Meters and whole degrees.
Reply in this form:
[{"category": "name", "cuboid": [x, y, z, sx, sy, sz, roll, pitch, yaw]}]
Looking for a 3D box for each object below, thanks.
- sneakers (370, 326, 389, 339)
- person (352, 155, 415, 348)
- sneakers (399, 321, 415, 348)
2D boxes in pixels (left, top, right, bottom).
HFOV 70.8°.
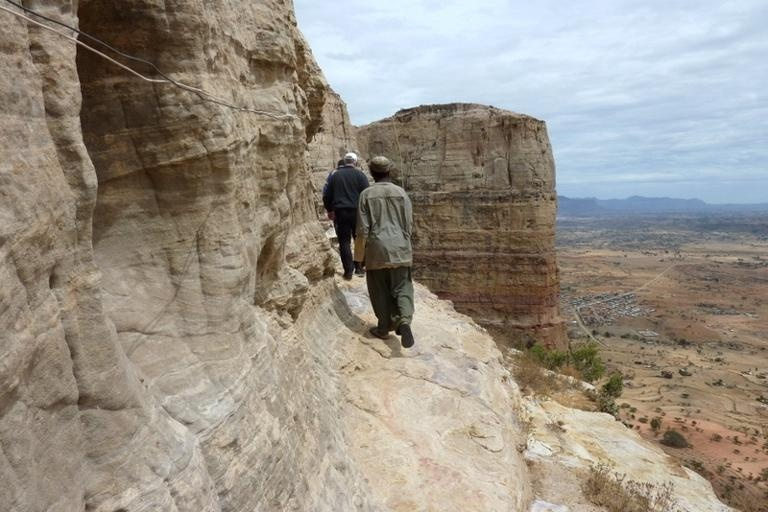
[{"category": "sneakers", "cuboid": [-0.059, 0.836, 5.970, 0.098, 0.096, 0.240, -15, 24, -42]}, {"category": "person", "cuboid": [0.094, 0.084, 5.609, 0.534, 1.708, 0.816, -13, 14, -43]}, {"category": "sneakers", "cuboid": [0.227, 0.785, 5.362, 0.142, 0.262, 0.120, -7, -2, 3]}]
